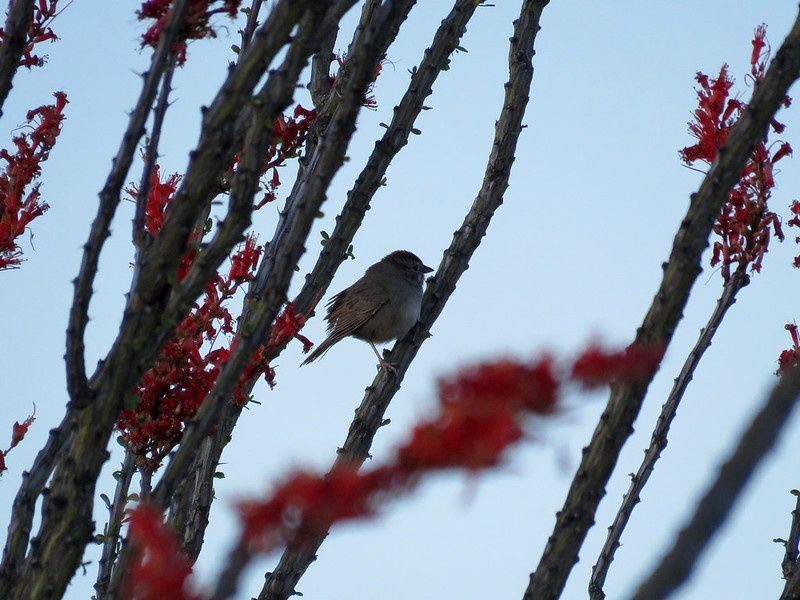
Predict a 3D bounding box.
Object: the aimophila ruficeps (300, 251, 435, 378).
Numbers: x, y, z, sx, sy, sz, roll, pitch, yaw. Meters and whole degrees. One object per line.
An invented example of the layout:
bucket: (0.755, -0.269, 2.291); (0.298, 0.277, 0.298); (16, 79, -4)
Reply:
aimophila ruficeps: (-0.097, 0.075, 10.179); (0.755, 0.820, 0.349); (-22, -57, 27)
